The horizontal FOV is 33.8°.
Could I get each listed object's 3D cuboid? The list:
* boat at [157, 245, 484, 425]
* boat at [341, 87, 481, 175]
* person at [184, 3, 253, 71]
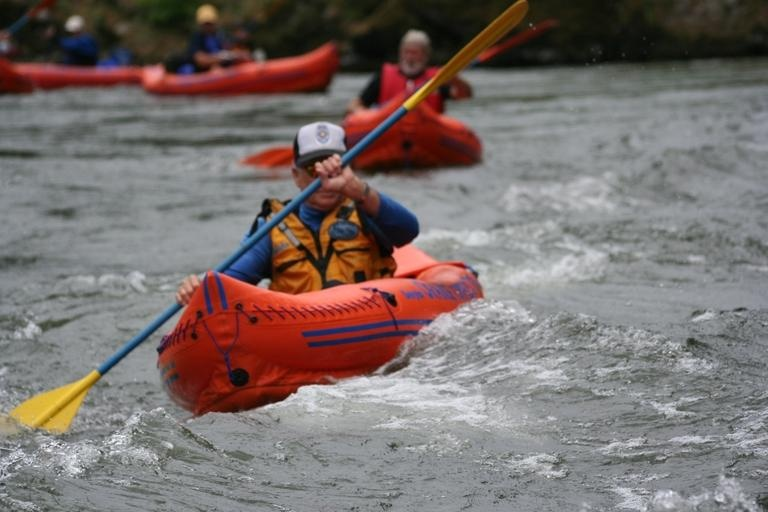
[{"bbox_3d":[-0.524,0.591,10.139,1.213,0.649,2.079,-24,-14,39],"label":"boat"},{"bbox_3d":[0.318,-1.362,14.313,1.755,0.783,2.216,-1,-5,-1],"label":"boat"},{"bbox_3d":[-2.613,-3.318,19.434,0.381,0.981,1.154,-18,-19,40],"label":"person"}]
